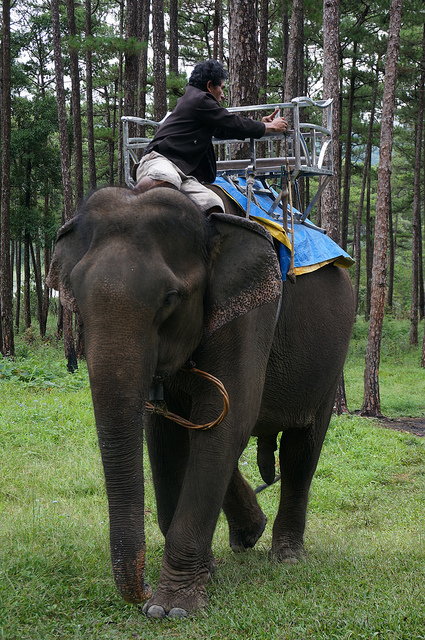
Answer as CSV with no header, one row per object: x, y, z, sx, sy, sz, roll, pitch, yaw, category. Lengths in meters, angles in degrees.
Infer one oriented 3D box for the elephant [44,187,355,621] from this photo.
0.015,0.371,4.405,1.191,1.891,2.368,-1,-3,25,elephant
